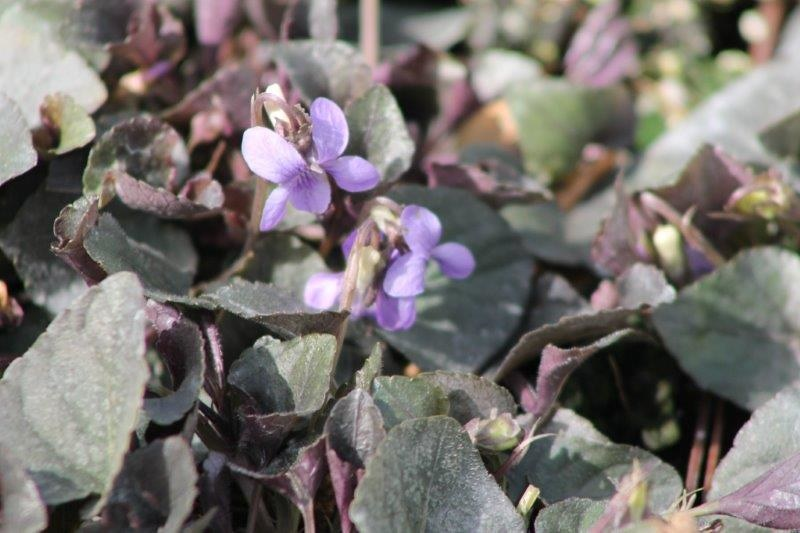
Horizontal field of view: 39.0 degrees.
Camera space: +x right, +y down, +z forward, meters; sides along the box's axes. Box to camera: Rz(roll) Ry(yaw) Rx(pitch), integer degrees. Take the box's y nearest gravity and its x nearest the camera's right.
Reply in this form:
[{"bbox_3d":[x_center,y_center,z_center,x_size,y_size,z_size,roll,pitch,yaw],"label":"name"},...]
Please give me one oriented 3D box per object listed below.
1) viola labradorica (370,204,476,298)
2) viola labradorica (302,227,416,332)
[{"bbox_3d":[0.027,-0.010,1.263,0.104,0.109,0.059,-17,39,-27],"label":"viola labradorica"},{"bbox_3d":[-0.038,0.030,1.311,0.113,0.125,0.044,17,-7,-6],"label":"viola labradorica"}]
